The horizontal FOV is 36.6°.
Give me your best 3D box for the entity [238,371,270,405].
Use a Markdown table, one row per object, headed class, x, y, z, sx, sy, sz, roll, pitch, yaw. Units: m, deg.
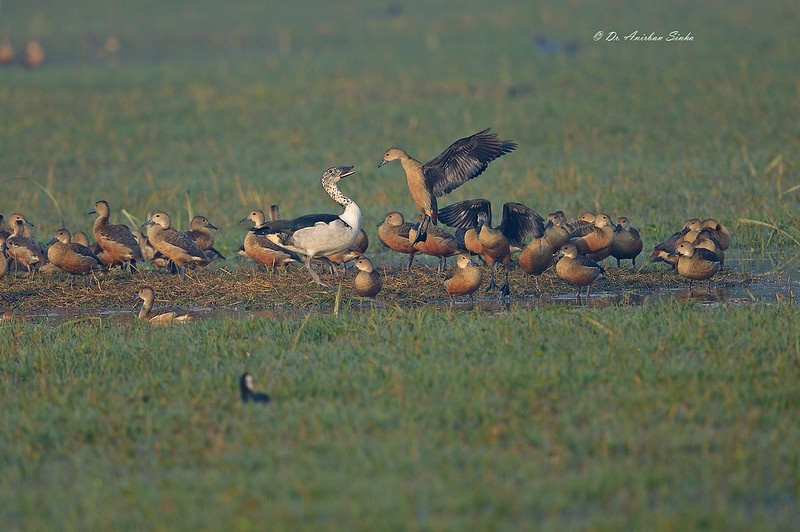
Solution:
| class | x | y | z | sx | sy | sz | roll | pitch | yaw |
| --- | --- | --- | --- | --- | --- | --- | --- | --- | --- |
| entity | -1.745 | 1.476 | 14.469 | 0.340 | 0.171 | 0.379 | -8 | 51 | -8 |
